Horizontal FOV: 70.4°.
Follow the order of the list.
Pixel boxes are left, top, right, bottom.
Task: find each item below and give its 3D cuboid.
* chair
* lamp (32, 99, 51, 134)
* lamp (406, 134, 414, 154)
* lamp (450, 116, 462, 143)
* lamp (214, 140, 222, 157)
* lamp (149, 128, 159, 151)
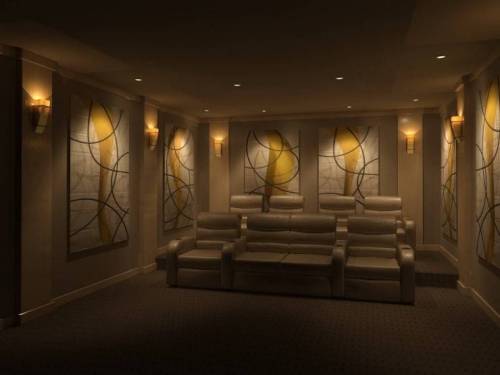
[{"bbox_3d":[0.599,1.022,5.489,3.500,1.117,0.808,1,5,11],"label":"chair"},{"bbox_3d":[-2.637,-0.895,4.474,0.156,0.429,0.198,3,6,32],"label":"lamp"},{"bbox_3d":[3.497,-0.950,7.761,0.166,0.405,0.091,1,5,13],"label":"lamp"},{"bbox_3d":[3.254,-0.922,5.573,0.153,0.406,0.379,2,6,30],"label":"lamp"},{"bbox_3d":[-0.789,-0.950,8.692,0.184,0.418,0.125,-1,5,-7],"label":"lamp"},{"bbox_3d":[-1.826,-0.908,6.676,0.143,0.418,0.230,0,5,10],"label":"lamp"}]
